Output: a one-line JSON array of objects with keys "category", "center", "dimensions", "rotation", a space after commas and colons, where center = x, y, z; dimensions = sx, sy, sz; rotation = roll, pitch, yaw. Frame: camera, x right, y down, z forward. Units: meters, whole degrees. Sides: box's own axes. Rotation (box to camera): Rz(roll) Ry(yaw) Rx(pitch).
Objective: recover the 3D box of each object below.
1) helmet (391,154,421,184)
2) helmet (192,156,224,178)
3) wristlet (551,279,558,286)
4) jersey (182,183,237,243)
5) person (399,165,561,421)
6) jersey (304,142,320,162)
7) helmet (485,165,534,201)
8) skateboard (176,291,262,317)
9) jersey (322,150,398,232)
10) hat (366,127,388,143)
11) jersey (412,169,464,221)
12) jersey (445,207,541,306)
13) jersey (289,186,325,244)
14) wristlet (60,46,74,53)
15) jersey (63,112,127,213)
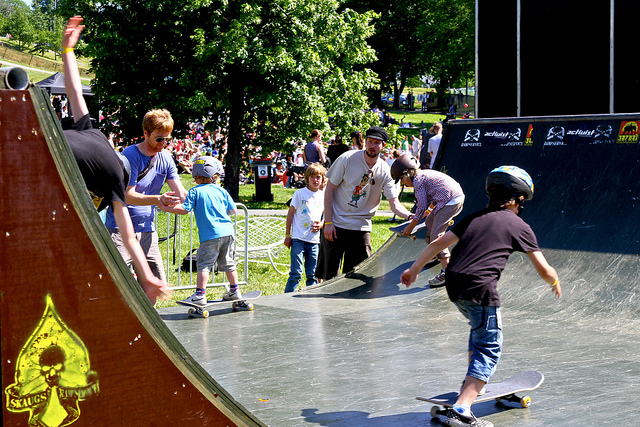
[{"category": "helmet", "center": [0.955, -0.521, 8.821], "dimensions": [0.321, 0.303, 0.236], "rotation": [6, -10, -8]}, {"category": "helmet", "center": [-1.233, -0.526, 8.448], "dimensions": [0.279, 0.216, 0.209], "rotation": [-8, 7, -3]}, {"category": "wristlet", "center": [1.843, 0.536, 6.068], "dimensions": [0.044, 0.033, 0.044], "rotation": [-1, 11, 8]}, {"category": "jersey", "center": [-1.216, -0.013, 8.441], "dimensions": [0.674, 0.633, 0.426], "rotation": [-2, -5, -39]}, {"category": "person", "center": [1.271, 0.564, 6.135], "dimensions": [0.977, 1.815, 0.738], "rotation": [-9, 15, -26]}, {"category": "jersey", "center": [-0.162, -1.279, 15.765], "dimensions": [0.256, 0.458, 0.365], "rotation": [-9, 11, -36]}, {"category": "helmet", "center": [1.545, -0.255, 6.207], "dimensions": [0.331, 0.253, 0.244], "rotation": [33, -12, -18]}, {"category": "skateboard", "center": [-1.039, 0.945, 8.609], "dimensions": [1.164, 0.191, 0.277], "rotation": [0, 6, -38]}, {"category": "jersey", "center": [0.492, -0.258, 9.120], "dimensions": [0.938, 0.908, 0.365], "rotation": [14, 0, -7]}, {"category": "hat", "center": [0.646, -0.903, 8.797], "dimensions": [0.218, 0.172, 0.245], "rotation": [0, 13, 7]}, {"category": "jersey", "center": [1.266, -0.232, 8.639], "dimensions": [0.566, 0.603, 0.474], "rotation": [4, 5, 28]}, {"category": "jersey", "center": [1.318, 0.289, 6.163], "dimensions": [0.791, 0.799, 0.399], "rotation": [17, -6, 43]}, {"category": "jersey", "center": [-0.156, 0.025, 9.578], "dimensions": [0.399, 0.691, 0.461], "rotation": [-3, 13, -2]}, {"category": "wristlet", "center": [-1.955, -1.277, 5.966], "dimensions": [0.093, 0.048, 0.153], "rotation": [-6, 13, -19]}, {"category": "jersey", "center": [-1.604, -0.360, 5.563], "dimensions": [0.163, 0.568, 0.556], "rotation": [-26, 31, 27]}]
